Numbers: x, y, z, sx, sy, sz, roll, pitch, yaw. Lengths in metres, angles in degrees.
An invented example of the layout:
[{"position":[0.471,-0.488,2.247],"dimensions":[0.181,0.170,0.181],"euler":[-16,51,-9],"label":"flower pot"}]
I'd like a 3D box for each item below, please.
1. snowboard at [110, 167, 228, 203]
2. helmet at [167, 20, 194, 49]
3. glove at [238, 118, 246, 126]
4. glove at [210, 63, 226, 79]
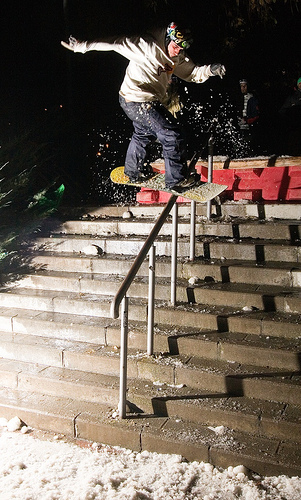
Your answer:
[{"position":[0.212,-0.784,5.120],"dimensions":[0.686,0.229,1.427],"euler":[-21,32,-38],"label":"snowboard"},{"position":[0.274,-2.048,4.273],"dimensions":[0.233,0.223,0.256],"euler":[0,25,0],"label":"helmet"},{"position":[1.791,-2.500,8.689],"dimensions":[0.117,0.152,0.289],"euler":[5,25,11],"label":"glove"},{"position":[0.655,-1.759,4.389],"dimensions":[0.138,0.126,0.361],"euler":[2,25,5],"label":"glove"}]
